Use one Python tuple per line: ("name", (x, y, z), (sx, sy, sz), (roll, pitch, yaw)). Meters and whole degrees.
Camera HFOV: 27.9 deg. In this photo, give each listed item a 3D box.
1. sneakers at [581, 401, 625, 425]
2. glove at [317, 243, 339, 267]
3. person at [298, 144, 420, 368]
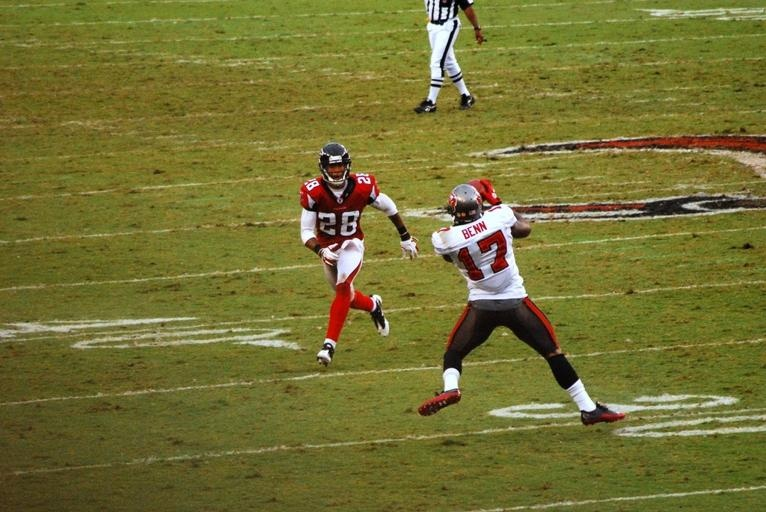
("sneakers", (2.656, 1.847, 18.161), (0.772, 0.214, 0.181), (-3, 28, 1))
("glove", (-0.701, 0.002, 19.475), (0.252, 0.263, 0.345), (-1, 12, -1))
("person", (-0.422, -0.079, 19.626), (1.351, 2.750, 1.512), (0, 16, 7))
